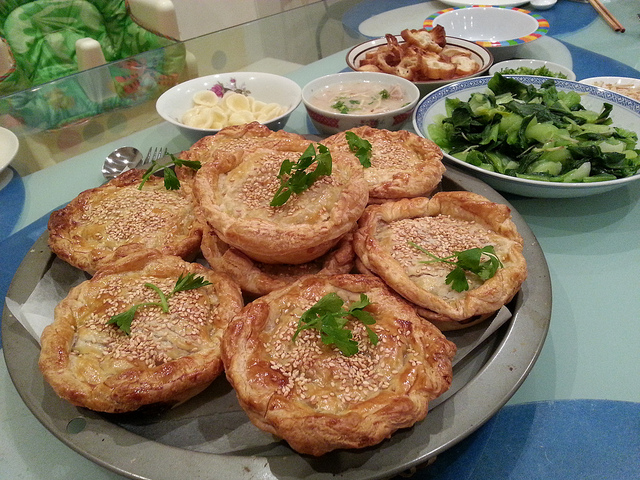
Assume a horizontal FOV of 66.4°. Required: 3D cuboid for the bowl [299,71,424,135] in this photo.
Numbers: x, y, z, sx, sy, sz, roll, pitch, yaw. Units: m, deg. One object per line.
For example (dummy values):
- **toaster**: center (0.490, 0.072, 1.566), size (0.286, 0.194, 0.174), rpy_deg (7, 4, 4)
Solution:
- **bowl**: center (0.311, -1.259, 4.386), size (0.882, 0.343, 0.834), rpy_deg (-3, 41, 3)
